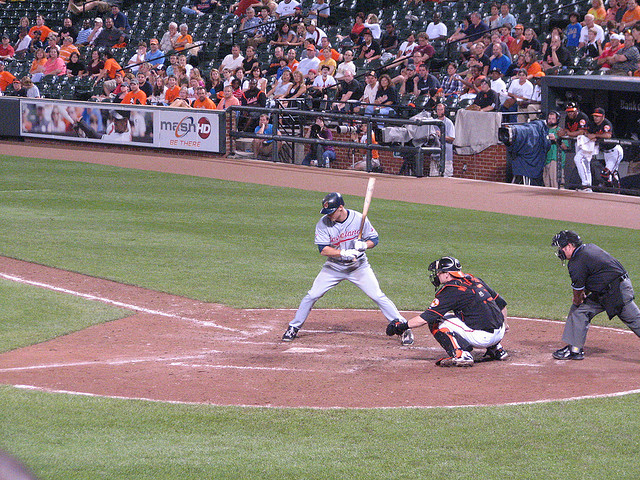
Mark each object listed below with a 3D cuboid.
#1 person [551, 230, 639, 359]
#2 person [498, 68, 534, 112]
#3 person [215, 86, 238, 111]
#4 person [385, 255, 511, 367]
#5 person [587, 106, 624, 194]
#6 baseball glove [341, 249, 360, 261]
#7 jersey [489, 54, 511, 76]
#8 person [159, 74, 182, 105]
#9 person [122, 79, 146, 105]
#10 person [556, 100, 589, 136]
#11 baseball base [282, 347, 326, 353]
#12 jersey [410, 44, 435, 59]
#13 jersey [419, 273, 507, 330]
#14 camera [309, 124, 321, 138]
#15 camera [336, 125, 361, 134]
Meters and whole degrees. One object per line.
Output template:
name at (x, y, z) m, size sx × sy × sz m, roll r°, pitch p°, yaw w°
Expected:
person at (3.675, 0.751, 14.947) m, size 1.138 × 1.724 × 0.436 m, roll 1°, pitch 3°, yaw 8°
person at (4.478, -3.371, 25.523) m, size 0.591 × 0.980 × 0.702 m, roll 3°, pitch 3°, yaw 34°
person at (-2.368, -3.566, 28.482) m, size 0.521 × 0.640 × 0.903 m, roll 1°, pitch 2°, yaw -5°
person at (1.847, 0.946, 15.180) m, size 1.129 × 1.295 × 2.103 m, roll 9°, pitch 9°, yaw 39°
person at (5.998, -1.852, 23.377) m, size 0.741 × 1.699 × 0.841 m, roll 3°, pitch 3°, yaw 29°
baseball glove at (0.371, 0.211, 15.598) m, size 0.205 × 0.163 × 0.255 m, roll -1°, pitch 3°, yaw -38°
jersey at (4.250, -4.107, 26.400) m, size 0.747 × 0.505 × 0.410 m, roll 11°, pitch 10°, yaw 41°
person at (-3.895, -3.944, 29.457) m, size 0.428 × 0.792 × 0.689 m, roll 0°, pitch 2°, yaw -11°
person at (-4.944, -3.902, 29.802) m, size 0.919 × 0.605 × 0.467 m, roll 8°, pitch 18°, yaw 15°
person at (5.289, -2.523, 23.663) m, size 0.737 × 0.733 × 0.978 m, roll 1°, pitch 16°, yaw 27°
baseball base at (-0.235, 1.531, 15.607) m, size 0.532 × 0.042 × 0.219 m, roll 1°, pitch 2°, yaw -2°
jersey at (2.654, -4.824, 28.499) m, size 0.653 × 0.259 × 0.358 m, roll 22°, pitch 29°, yaw 40°
jersey at (1.928, 0.812, 15.160) m, size 1.066 × 0.723 × 0.944 m, roll 3°, pitch 9°, yaw 13°
camera at (-0.123, -2.658, 27.481) m, size 0.147 × 0.167 × 0.433 m, roll 9°, pitch -21°, yaw -4°
camera at (0.683, -2.611, 26.670) m, size 0.602 × 0.150 × 0.193 m, roll -1°, pitch 24°, yaw -33°
